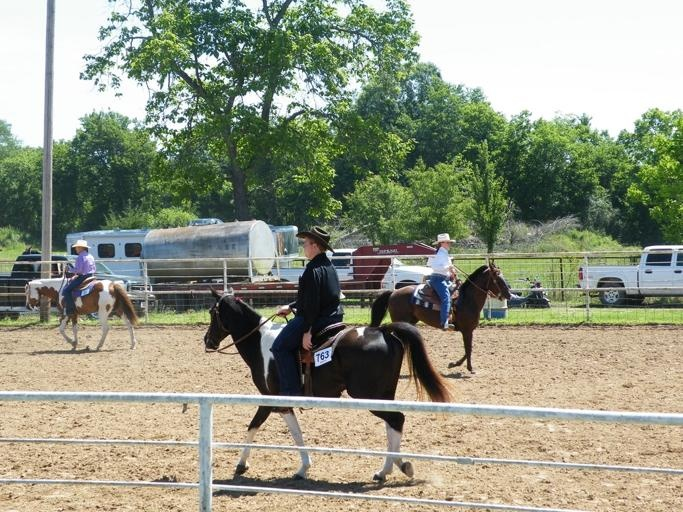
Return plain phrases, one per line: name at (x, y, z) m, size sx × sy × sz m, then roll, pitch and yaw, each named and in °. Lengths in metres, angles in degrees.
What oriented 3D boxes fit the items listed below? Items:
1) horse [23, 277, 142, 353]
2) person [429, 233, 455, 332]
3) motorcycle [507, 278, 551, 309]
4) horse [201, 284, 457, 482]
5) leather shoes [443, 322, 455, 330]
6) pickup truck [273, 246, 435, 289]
horse at (-8.579, 1.993, 37.911) m, size 2.933 × 2.947 × 3.173 m, roll 6°, pitch 10°, yaw 10°
person at (3.039, 0.714, 33.374) m, size 0.845 × 2.877 × 1.058 m, roll 2°, pitch -3°, yaw -11°
motorcycle at (6.881, 1.425, 42.374) m, size 2.509 × 1.421 × 1.156 m, roll -3°, pitch 1°, yaw 20°
horse at (-0.783, 3.662, 30.189) m, size 7.041 × 5.118 × 4.708 m, roll -2°, pitch 11°, yaw -43°
leather shoes at (3.252, 2.077, 33.181) m, size 0.151 × 0.177 × 0.413 m, roll 4°, pitch -1°, yaw -28°
pickup truck at (0.337, 0.803, 45.560) m, size 6.651 × 2.325 × 3.449 m, roll -1°, pitch 0°, yaw 10°
